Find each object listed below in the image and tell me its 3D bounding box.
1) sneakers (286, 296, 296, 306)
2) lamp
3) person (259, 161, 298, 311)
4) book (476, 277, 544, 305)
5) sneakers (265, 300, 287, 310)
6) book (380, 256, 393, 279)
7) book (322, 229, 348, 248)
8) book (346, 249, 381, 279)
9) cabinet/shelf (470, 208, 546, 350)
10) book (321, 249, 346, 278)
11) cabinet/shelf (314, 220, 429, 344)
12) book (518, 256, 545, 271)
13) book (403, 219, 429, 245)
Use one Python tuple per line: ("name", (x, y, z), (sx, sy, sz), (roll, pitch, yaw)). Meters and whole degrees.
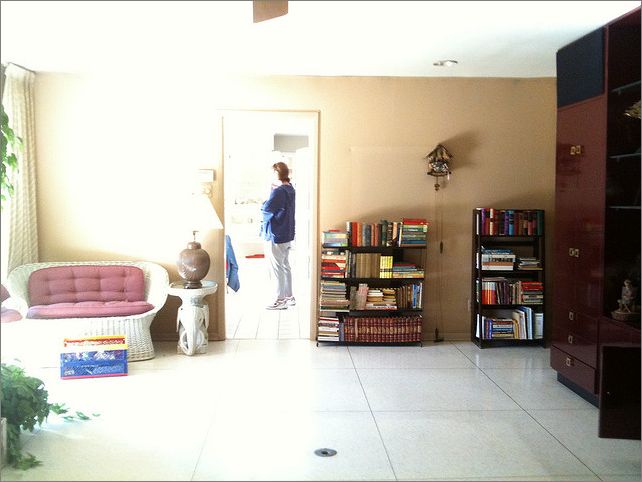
("sneakers", (-0.471, 0.938, 7.894), (0.133, 0.124, 0.132), (1, -2, 2))
("lamp", (-1.356, -0.008, 5.719), (0.473, 1.007, 0.515), (0, 8, -4))
("person", (-0.649, -0.076, 7.738), (0.455, 2.195, 0.627), (3, 9, 17))
("book", (2.201, 0.600, 5.917), (0.748, 0.305, 0.119), (0, 8, 0))
("sneakers", (-0.664, 0.958, 7.653), (0.331, 0.137, 0.121), (1, 0, -5))
("book", (0.743, 0.312, 5.866), (0.218, 0.306, 0.222), (1, 1, -1))
("book", (0.157, -0.018, 5.892), (0.240, 0.182, 0.250), (2, -1, -11))
("book", (0.478, 0.272, 5.971), (0.383, 0.345, 0.279), (0, -2, 2))
("cabinet/shelf", (2.142, 0.433, 5.831), (0.823, 1.545, 0.488), (-1, 4, 17))
("book", (0.141, 0.245, 5.990), (0.376, 0.356, 0.261), (1, 6, 1))
("cabinet/shelf", (0.566, 0.458, 5.937), (1.476, 1.636, 0.557), (1, 0, -1))
("book", (2.419, 0.272, 5.914), (0.305, 0.135, 0.180), (1, 8, 3))
("book", (1.047, -0.085, 5.939), (0.373, 0.353, 0.268), (0, 0, 1))
